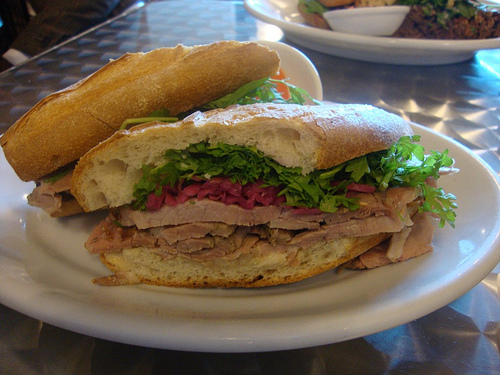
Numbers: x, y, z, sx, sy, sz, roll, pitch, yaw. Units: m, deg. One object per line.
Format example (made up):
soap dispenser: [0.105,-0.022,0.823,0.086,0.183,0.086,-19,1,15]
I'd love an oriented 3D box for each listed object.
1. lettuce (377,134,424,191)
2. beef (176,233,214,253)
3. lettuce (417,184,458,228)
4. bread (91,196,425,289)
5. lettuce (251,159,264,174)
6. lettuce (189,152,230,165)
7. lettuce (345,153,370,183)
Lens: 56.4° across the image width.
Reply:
lettuce: [0.644,-0.081,2.061,0.168,0.121,0.269,6,120,1]
beef: [-0.240,0.249,2.058,0.107,0.095,0.030,-14,80,12]
lettuce: [0.817,0.065,2.083,0.175,0.146,0.202,6,104,-2]
bread: [-0.055,0.332,2.218,1.213,0.985,0.446,-5,101,-27]
lettuce: [0.032,-0.091,1.975,0.045,0.017,0.053,-28,94,-23]
lettuce: [-0.174,-0.127,1.991,0.083,0.091,0.021,20,112,40]
lettuce: [0.461,-0.086,1.991,0.109,0.028,0.114,9,76,4]
